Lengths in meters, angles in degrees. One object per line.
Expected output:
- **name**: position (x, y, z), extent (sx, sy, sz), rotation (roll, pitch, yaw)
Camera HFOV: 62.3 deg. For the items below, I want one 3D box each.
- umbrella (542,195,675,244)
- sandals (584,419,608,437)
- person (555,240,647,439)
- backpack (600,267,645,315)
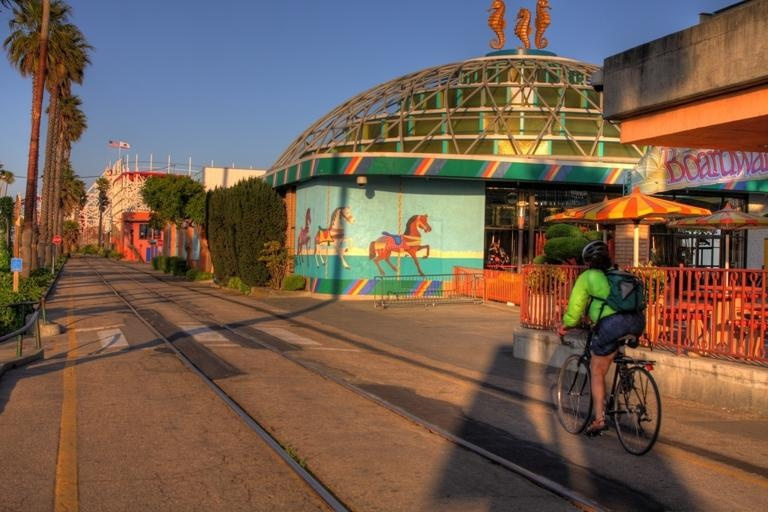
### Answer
- **umbrella**: position (6.425, -1.199, 17.336), extent (2.165, 0.947, 2.166), rotation (-2, -1, -31)
- **sandals**: position (2.966, 2.437, 8.940), extent (0.174, 0.182, 0.413), rotation (39, -11, 9)
- **person**: position (3.024, 1.157, 8.865), extent (0.795, 2.749, 0.798), rotation (0, 1, -28)
- **backpack**: position (3.230, 0.498, 8.695), extent (0.563, 0.592, 0.446), rotation (-3, -4, 22)
